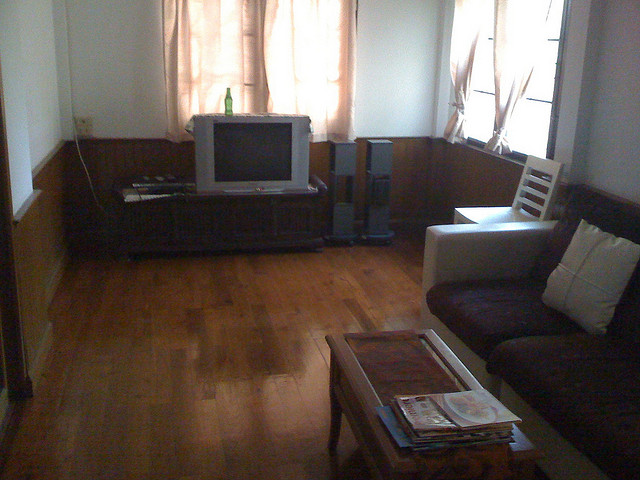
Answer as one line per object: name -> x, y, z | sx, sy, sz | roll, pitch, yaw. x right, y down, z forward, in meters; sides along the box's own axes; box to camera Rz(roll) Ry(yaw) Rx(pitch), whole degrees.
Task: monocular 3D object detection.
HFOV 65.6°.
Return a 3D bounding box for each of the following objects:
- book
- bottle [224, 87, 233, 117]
book -> 0.466, 0.650, 1.804 | 0.254, 0.064, 0.243 | -3, 11, -7
bottle -> -0.859, -1.290, 4.651 | 0.090, 0.231, 0.323 | -3, 22, -9
